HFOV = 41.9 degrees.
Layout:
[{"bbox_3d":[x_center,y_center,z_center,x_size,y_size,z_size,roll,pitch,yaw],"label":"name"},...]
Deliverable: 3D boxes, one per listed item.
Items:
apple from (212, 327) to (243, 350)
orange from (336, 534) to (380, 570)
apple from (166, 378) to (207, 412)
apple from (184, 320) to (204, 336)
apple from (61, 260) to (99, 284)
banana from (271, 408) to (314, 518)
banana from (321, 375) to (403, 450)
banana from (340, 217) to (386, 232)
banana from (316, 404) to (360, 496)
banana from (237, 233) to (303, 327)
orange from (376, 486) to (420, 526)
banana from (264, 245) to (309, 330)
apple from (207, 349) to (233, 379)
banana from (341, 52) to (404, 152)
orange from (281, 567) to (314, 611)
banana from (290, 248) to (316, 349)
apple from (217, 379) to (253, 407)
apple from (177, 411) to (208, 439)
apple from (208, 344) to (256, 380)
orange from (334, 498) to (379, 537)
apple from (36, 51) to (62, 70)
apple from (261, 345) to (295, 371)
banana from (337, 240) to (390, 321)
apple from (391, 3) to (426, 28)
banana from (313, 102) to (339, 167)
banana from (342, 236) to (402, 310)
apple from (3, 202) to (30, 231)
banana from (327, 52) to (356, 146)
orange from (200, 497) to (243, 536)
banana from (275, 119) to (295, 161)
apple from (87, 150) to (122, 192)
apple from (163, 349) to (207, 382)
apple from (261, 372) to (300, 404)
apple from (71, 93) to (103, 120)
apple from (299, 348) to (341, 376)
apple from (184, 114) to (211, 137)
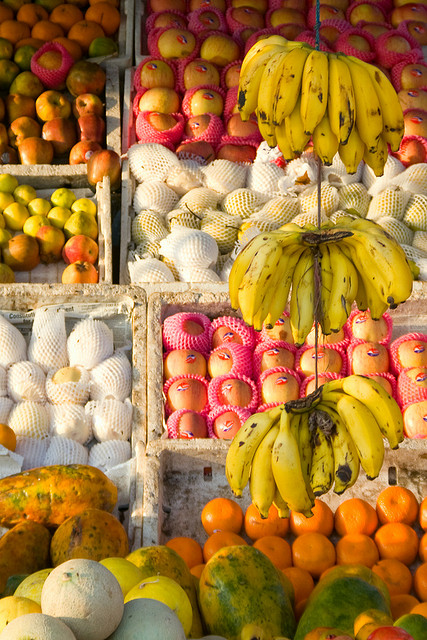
[{"bbox_3d":[0.058,0.091,2.937,0.123,0.119,0.075,0,9,23],"label":"apple"},{"bbox_3d":[0.477,0.769,1.861,0.108,0.096,0.104,-8,26,5],"label":"orange"},{"bbox_3d":[-0.125,0.366,2.668,0.192,0.156,0.137,4,13,-8],"label":"apple"},{"bbox_3d":[-0.103,0.038,2.917,0.097,0.066,0.151,9,13,13],"label":"apple"},{"bbox_3d":[-0.880,-0.322,3.738,0.138,0.132,0.133,24,27,4],"label":"apple"},{"bbox_3d":[0.189,0.354,1.401,0.070,0.261,0.096,-16,-20,24],"label":"banana"},{"bbox_3d":[0.430,0.214,1.524,0.078,0.220,0.184,-18,-19,-48],"label":"banana"},{"bbox_3d":[0.426,-0.274,1.611,0.063,0.044,0.077,-1,8,-5],"label":"banana"},{"bbox_3d":[0.314,0.332,1.485,0.088,0.251,0.059,-7,-28,-5],"label":"banana"},{"bbox_3d":[0.127,-0.112,1.525,0.080,0.347,0.118,23,-14,11],"label":"banana"},{"bbox_3d":[0.692,0.697,2.117,0.146,0.141,0.132,-17,-23,16],"label":"orange"},{"bbox_3d":[0.201,-0.111,1.705,0.097,0.064,0.384,14,43,13],"label":"banana"},{"bbox_3d":[0.034,0.213,2.785,0.136,0.157,0.133,0,-3,-10],"label":"apple"},{"bbox_3d":[0.438,-0.596,1.562,0.096,0.343,0.121,-20,14,5],"label":"banana"},{"bbox_3d":[0.247,0.817,1.723,0.099,0.094,0.096,-7,15,-1],"label":"orange"},{"bbox_3d":[0.247,-0.066,1.622,0.072,0.255,0.083,3,-16,-2],"label":"banana"},{"bbox_3d":[0.108,0.345,2.657,0.134,0.131,0.085,3,36,7],"label":"apple"},{"bbox_3d":[-0.099,0.477,2.526,0.122,0.120,0.138,0,55,-4],"label":"apple"},{"bbox_3d":[0.086,0.208,2.776,0.171,0.187,0.193,1,-1,6],"label":"apple"},{"bbox_3d":[0.533,0.707,2.093,0.138,0.133,0.125,4,11,32],"label":"orange"},{"bbox_3d":[-1.473,-2.385,5.108,0.189,0.187,0.110,27,-25,11],"label":"apple"},{"bbox_3d":[0.316,0.187,2.769,0.137,0.131,0.130,-2,-8,-2],"label":"apple"},{"bbox_3d":[0.412,-0.118,1.548,0.053,0.218,0.073,-23,14,29],"label":"banana"},{"bbox_3d":[2.094,-3.300,6.088,0.290,0.323,0.179,19,-27,6],"label":"apple"},{"bbox_3d":[0.294,-0.486,1.490,0.057,0.169,0.061,-5,12,-21],"label":"banana"},{"bbox_3d":[0.410,-0.124,1.498,0.258,0.067,0.048,29,26,-34],"label":"banana"},{"bbox_3d":[-1.423,-0.782,4.151,0.194,0.190,0.181,22,18,12],"label":"apple"},{"bbox_3d":[0.317,-0.574,1.461,0.065,0.235,0.082,-2,-4,-1],"label":"banana"},{"bbox_3d":[0.038,0.734,2.127,0.134,0.119,0.129,-20,42,-15],"label":"orange"},{"bbox_3d":[0.202,-0.508,1.587,0.044,0.123,0.034,-30,15,-25],"label":"banana"},{"bbox_3d":[-0.840,-1.194,4.375,0.286,0.309,0.286,4,10,30],"label":"apple"},{"bbox_3d":[-0.146,0.214,2.768,0.173,0.163,0.160,-6,51,-2],"label":"apple"},{"bbox_3d":[0.316,0.312,2.608,0.150,0.143,0.147,0,-1,-2],"label":"apple"},{"bbox_3d":[-1.133,-1.894,5.009,0.239,0.229,0.236,2,8,-8],"label":"apple"},{"bbox_3d":[0.528,0.208,2.738,0.181,0.107,0.170,1,32,7],"label":"apple"},{"bbox_3d":[-0.138,-1.668,4.775,0.125,0.204,0.200,37,11,-17],"label":"apple"}]
